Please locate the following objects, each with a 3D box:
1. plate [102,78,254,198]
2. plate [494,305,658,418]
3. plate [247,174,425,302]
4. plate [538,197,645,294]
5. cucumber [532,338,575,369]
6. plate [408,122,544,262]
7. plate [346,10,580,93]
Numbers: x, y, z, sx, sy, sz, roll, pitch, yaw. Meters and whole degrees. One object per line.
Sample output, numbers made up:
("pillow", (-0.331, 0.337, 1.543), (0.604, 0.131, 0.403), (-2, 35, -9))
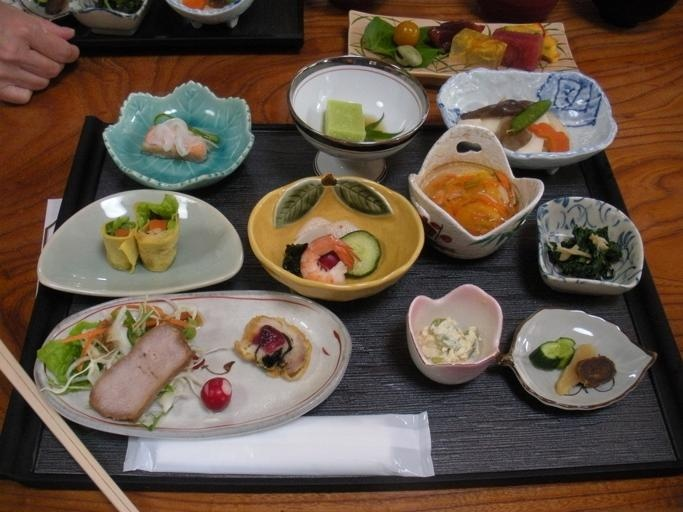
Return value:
("plate", (-0.723, -0.525, 2.365), (0.633, 0.178, 0.618), (-15, 66, -6))
("plate", (0.826, 0.369, 1.887), (0.422, 0.087, 0.409), (-40, 71, -16))
("plate", (-0.019, -0.053, 2.048), (0.654, 0.200, 0.489), (-8, 65, -3))
("plate", (0.984, -0.025, 2.092), (0.423, 0.169, 0.386), (7, 66, 4))
("cucumber", (0.757, 0.354, 1.880), (0.134, 0.047, 0.095), (-18, 73, -7))
("plate", (0.539, -0.219, 2.081), (0.469, 0.337, 0.510), (23, 54, 30))
("plate", (0.607, -0.995, 2.972), (1.343, 0.200, 0.498), (5, 64, -6))
